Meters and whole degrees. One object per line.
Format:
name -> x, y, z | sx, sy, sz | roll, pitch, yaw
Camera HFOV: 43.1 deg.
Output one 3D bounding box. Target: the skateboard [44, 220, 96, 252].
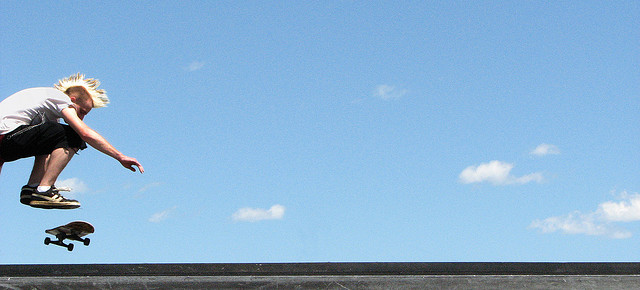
skateboard -> -3.851, 1.397, 12.334 | 0.519, 0.849, 0.247 | 9, -79, 14
